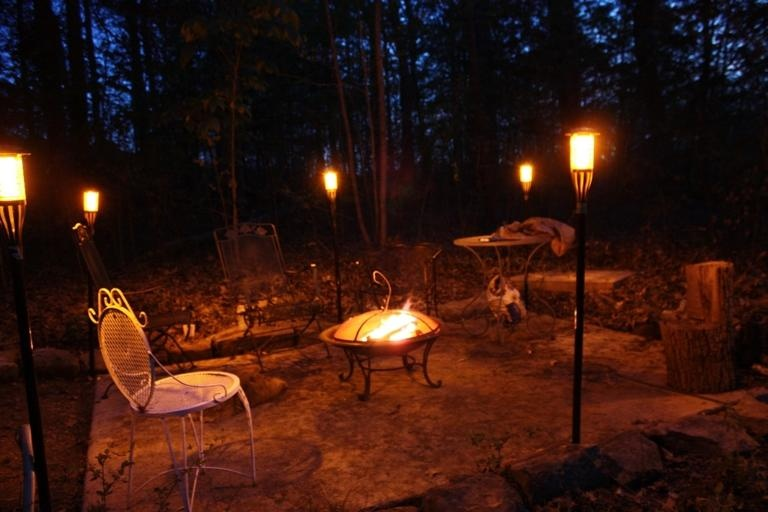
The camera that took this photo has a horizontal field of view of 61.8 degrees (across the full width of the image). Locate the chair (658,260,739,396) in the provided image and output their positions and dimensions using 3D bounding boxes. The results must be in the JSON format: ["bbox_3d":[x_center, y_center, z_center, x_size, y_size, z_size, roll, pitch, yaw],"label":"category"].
[{"bbox_3d":[5.221,1.172,10.726,1.099,2.040,0.980,-2,7,24],"label":"chair"}]
